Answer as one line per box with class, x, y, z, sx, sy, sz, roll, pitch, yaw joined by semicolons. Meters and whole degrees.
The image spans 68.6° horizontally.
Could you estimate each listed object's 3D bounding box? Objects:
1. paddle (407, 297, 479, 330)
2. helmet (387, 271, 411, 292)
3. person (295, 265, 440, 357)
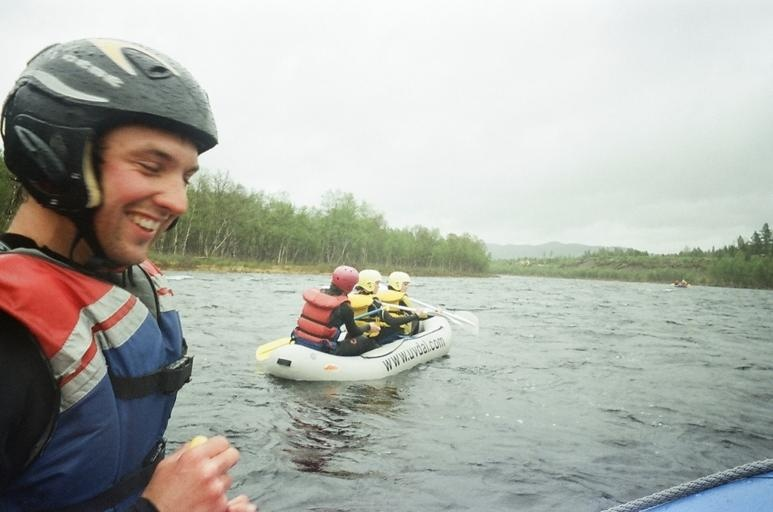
paddle;1.455;1.455;14.530;1.516;0.275;0.420;29;-30;-36
helmet;0.272;0.528;12.030;0.458;0.378;0.348;0;8;-14
person;-0.524;0.762;9.621;1.232;1.197;2.168;9;10;29
